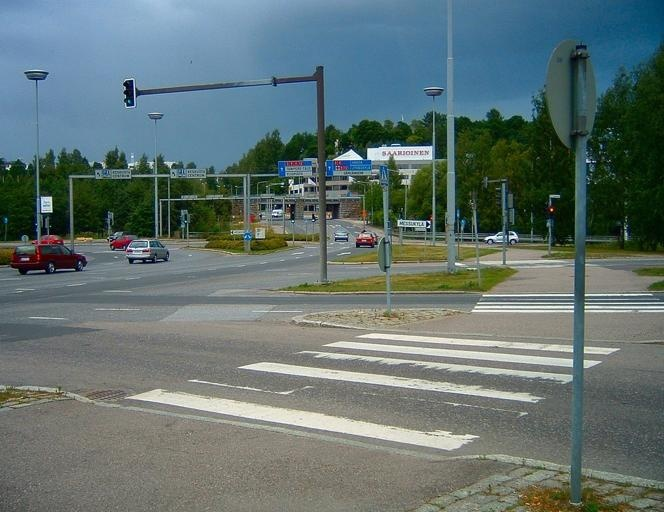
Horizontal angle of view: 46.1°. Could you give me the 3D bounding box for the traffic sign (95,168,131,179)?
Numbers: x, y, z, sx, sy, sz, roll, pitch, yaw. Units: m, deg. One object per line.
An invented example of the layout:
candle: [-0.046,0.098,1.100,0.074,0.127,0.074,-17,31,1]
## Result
traffic sign: [-18.150,-6.856,64.416,2.673,0.795,1.814,-1,2,-11]

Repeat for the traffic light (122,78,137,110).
traffic light: [-6.615,-5.294,25.522,0.386,0.939,0.951,-1,2,-13]

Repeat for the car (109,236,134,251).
car: [-19.007,-1.220,70.383,2.389,1.266,1.497,6,9,31]

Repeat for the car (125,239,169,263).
car: [-12.020,-0.413,51.542,1.237,0.983,2.825,1,6,8]

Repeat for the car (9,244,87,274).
car: [-14.794,0.128,40.808,1.575,1.169,3.326,2,7,21]
